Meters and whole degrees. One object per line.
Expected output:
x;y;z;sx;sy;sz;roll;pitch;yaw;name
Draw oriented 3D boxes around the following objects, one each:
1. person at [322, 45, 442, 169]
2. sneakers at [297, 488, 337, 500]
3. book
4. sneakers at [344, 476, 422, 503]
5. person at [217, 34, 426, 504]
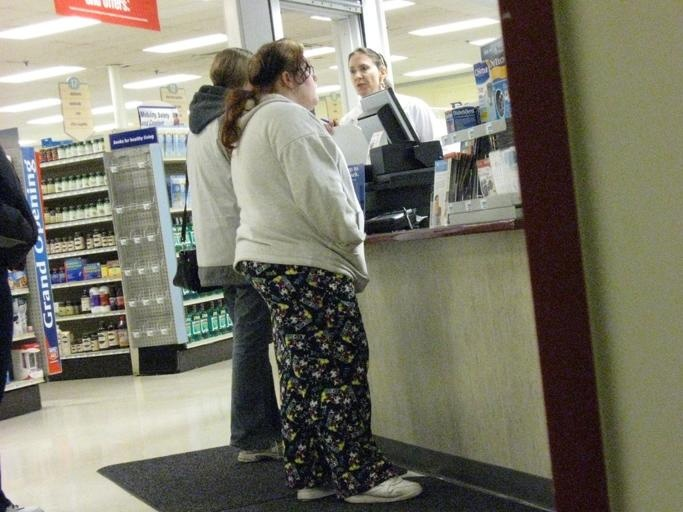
0.299;-1.031;4.439;0.962;1.006;0.540;-5;4;33;person
-0.113;1.052;2.700;0.180;0.073;0.065;0;-2;-9;sneakers
0.476;-0.296;2.609;0.251;0.308;0.117;-9;1;24;book
0.168;0.992;2.575;0.330;0.144;0.125;-5;-2;1;sneakers
-0.140;0.075;2.533;0.654;1.974;0.339;-9;1;5;person
